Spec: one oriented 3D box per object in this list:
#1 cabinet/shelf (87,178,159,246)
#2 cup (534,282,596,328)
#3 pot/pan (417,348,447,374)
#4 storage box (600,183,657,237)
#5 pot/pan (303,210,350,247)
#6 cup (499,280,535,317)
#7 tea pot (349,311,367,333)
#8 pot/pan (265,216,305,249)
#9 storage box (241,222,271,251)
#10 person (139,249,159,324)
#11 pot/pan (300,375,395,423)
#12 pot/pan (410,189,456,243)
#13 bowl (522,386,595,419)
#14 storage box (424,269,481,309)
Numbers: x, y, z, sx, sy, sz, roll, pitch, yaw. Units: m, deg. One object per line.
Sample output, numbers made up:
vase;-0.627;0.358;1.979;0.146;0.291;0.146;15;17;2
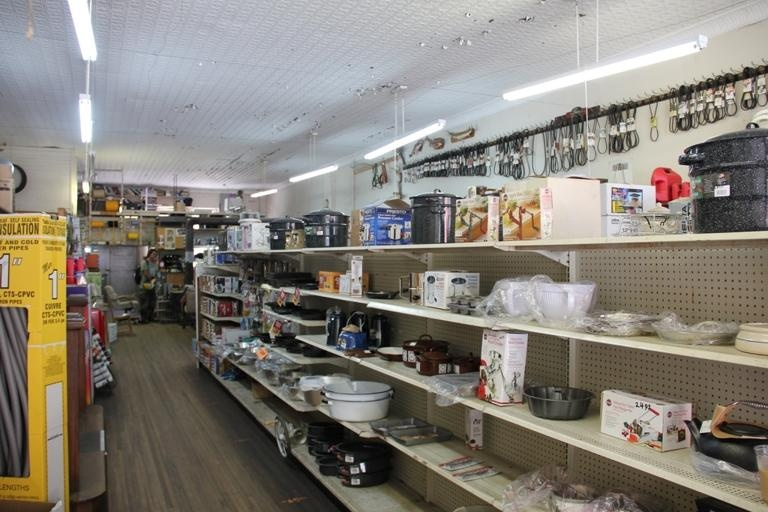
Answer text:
cabinet/shelf;-7.366;-1.094;15.359;2.545;1.603;2.454;2;-2;-6
cup;1.049;0.319;3.156;0.319;0.215;0.260;-5;-11;40
pot/pan;0.359;0.788;4.035;0.197;0.118;0.156;-2;3;-39
storage box;1.440;-0.260;3.194;0.367;0.315;0.120;0;-2;-26
pot/pan;-0.551;-0.250;5.197;0.388;0.311;0.376;0;0;-26
cup;0.815;0.263;3.327;0.171;0.156;0.219;-2;-8;19
tea pot;-0.223;0.624;5.077;0.195;0.183;0.153;0;-3;8
pot/pan;-1.098;-0.239;6.063;0.435;0.346;0.404;0;-1;-25
storage box;-1.686;-0.265;7.054;0.414;0.385;0.410;-3;3;-22
person;-6.003;0.749;13.783;0.457;1.849;0.648;-3;5;-24
pot/pan;-0.340;1.232;4.788;0.446;0.135;0.572;3;-6;-34
pot/pan;0.354;-0.266;3.809;0.350;0.354;0.374;-2;-2;45
bowl;1.055;0.891;3.279;0.384;0.124;0.383;-1;1;0
storage box;0.500;0.241;3.878;0.309;0.220;0.293;3;-4;-23
